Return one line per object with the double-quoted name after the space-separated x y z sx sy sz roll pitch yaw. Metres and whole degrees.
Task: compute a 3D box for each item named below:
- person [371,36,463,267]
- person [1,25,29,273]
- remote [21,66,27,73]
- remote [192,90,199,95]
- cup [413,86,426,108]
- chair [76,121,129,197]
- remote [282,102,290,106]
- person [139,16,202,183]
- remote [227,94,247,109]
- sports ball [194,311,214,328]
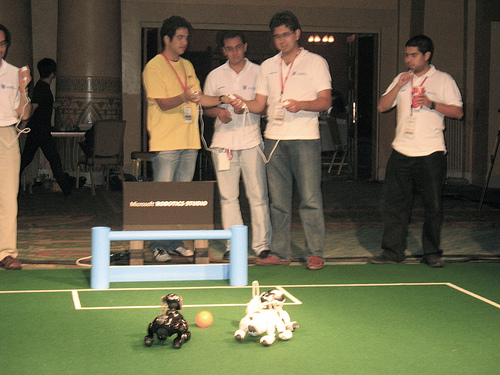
1.490 -0.307 4.234 0.556 1.995 0.485 5 7 43 "person"
-1.977 -0.178 4.020 0.252 1.736 0.416 -3 6 -27 "person"
-1.813 -0.947 3.840 0.036 0.029 0.031 2 4 0 "remote"
-0.459 -0.781 3.996 0.060 0.015 0.053 2 42 1 "remote"
1.398 -0.752 4.005 0.076 0.165 0.098 0 5 -3 "cup"
-2.625 -0.502 9.288 0.916 1.271 1.020 6 -12 8 "chair"
0.288 -0.675 3.920 0.048 0.031 0.011 1 5 5 "remote"
-0.694 -0.749 4.226 0.504 1.406 0.526 -1 5 -8 "person"
-0.125 -0.743 4.141 0.110 0.062 0.149 45 -3 -41 "remote"
-0.262 0.742 2.772 0.101 0.095 0.092 -7 38 -16 "sports ball"
